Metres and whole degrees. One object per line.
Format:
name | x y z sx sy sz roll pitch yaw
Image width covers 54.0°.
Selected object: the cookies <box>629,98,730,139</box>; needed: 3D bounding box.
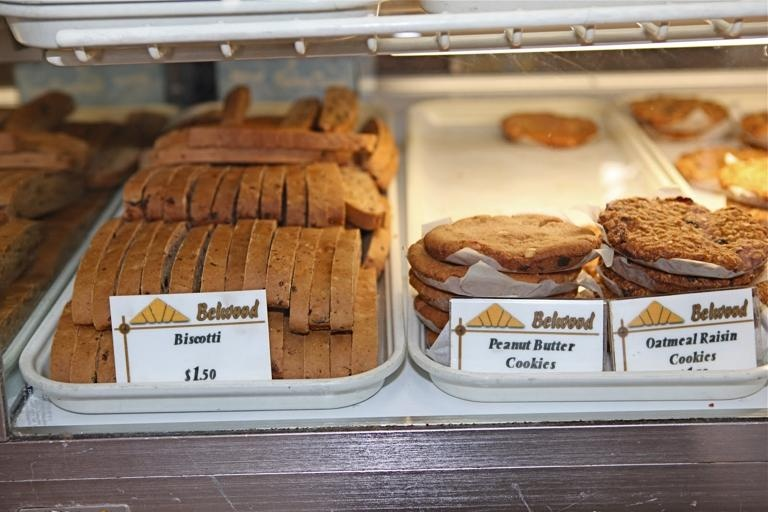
cookies | 0.839 -0.409 2.144 0.175 0.049 0.140 19 41 36
